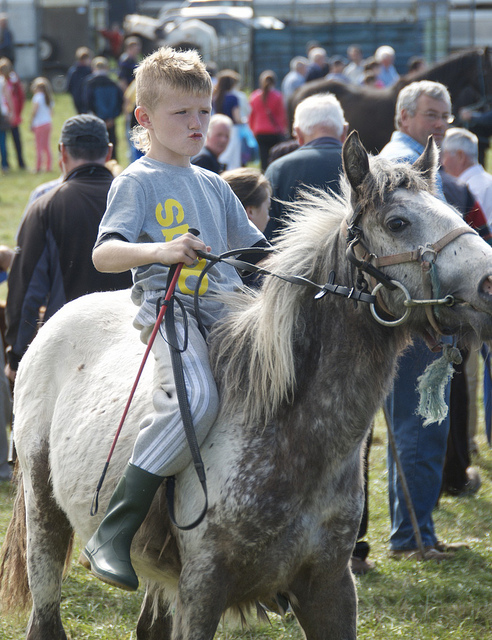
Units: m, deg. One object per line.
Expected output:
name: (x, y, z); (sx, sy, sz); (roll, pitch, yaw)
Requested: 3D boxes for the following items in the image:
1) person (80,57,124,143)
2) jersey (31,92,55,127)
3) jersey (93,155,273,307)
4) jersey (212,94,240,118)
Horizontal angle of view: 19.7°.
person: (-1.736, -2.399, 16.874); (0.552, 1.446, 0.458); (-9, 34, -21)
jersey: (-2.586, -2.669, 18.029); (0.229, 0.430, 0.432); (-1, 9, -7)
jersey: (-0.246, -0.360, 6.000); (0.836, 0.676, 0.398); (-3, 3, -33)
jersey: (-0.128, -2.427, 16.091); (0.135, 0.252, 0.331); (5, 10, 27)
